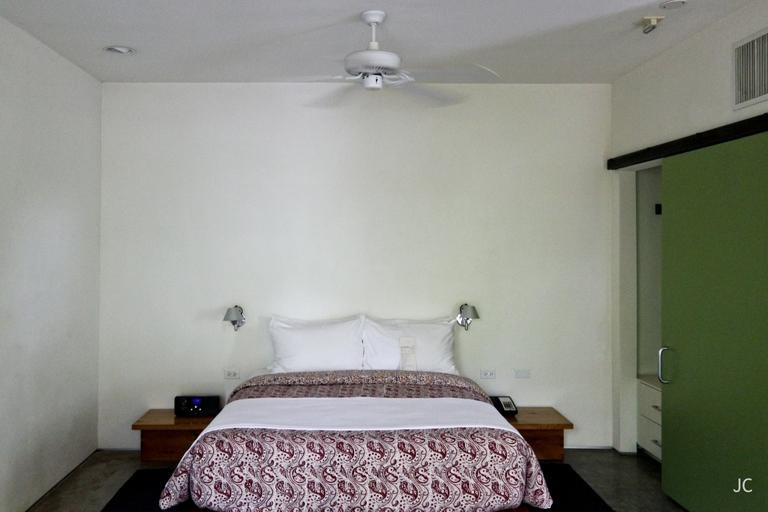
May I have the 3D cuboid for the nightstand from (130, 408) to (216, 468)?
[{"bbox_3d":[-2.040,1.706,5.346,0.696,0.328,0.434,0,3,-2],"label":"nightstand"}]

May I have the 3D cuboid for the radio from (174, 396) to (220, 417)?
[{"bbox_3d":[-1.803,1.444,5.554,0.356,0.155,0.212,0,2,-2],"label":"radio"}]

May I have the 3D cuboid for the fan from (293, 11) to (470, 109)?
[{"bbox_3d":[-0.076,-1.541,4.994,1.475,0.577,1.654,-2,-3,8],"label":"fan"}]

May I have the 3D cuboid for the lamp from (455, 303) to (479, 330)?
[{"bbox_3d":[0.829,0.605,5.660,0.230,0.272,0.197,-2,-2,5],"label":"lamp"}]

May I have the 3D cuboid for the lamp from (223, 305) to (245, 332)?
[{"bbox_3d":[-1.454,0.611,5.570,0.222,0.264,0.247,-1,-4,-3],"label":"lamp"}]

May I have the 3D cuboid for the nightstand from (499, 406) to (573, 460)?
[{"bbox_3d":[1.521,1.644,5.508,0.515,0.304,0.510,-1,0,8],"label":"nightstand"}]

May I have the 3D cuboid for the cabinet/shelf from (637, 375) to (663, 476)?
[{"bbox_3d":[2.545,1.559,5.443,0.122,0.555,0.430,-2,-2,3],"label":"cabinet/shelf"}]

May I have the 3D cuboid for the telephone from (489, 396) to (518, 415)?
[{"bbox_3d":[1.122,1.417,5.396,0.234,0.053,0.219,1,13,-11],"label":"telephone"}]
